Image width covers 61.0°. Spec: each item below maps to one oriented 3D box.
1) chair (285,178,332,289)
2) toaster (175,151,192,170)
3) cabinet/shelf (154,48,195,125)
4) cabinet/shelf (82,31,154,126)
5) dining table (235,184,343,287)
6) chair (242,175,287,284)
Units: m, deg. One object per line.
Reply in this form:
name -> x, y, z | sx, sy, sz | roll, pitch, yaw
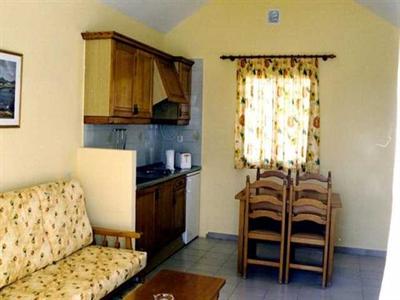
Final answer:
chair -> 1.421, 0.949, 4.446 | 0.552, 1.307, 0.998 | 3, 7, 15
toaster -> -0.255, 0.173, 5.410 | 0.204, 0.344, 0.379 | -2, 3, -10
cabinet/shelf -> -0.403, -0.962, 5.186 | 0.583, 1.184, 1.184 | 1, 3, 19
cabinet/shelf -> -1.037, -0.855, 4.133 | 0.486, 1.112, 1.229 | 0, 1, 18
dining table -> 1.194, 1.042, 4.660 | 1.375, 1.239, 1.091 | 2, -3, 17
chair -> 0.853, 0.948, 4.452 | 0.549, 1.271, 0.712 | 3, 7, 14
